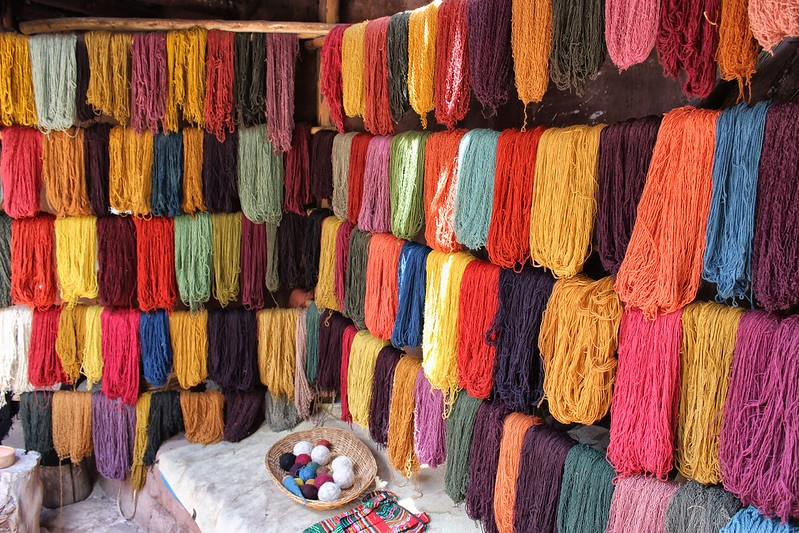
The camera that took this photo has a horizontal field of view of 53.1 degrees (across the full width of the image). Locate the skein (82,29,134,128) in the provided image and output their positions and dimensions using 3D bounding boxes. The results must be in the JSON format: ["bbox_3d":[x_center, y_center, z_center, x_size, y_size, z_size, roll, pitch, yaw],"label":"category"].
[{"bbox_3d":[-1.421,-0.920,3.852,0.216,0.128,0.385,1,-83,-2],"label":"skein"}]

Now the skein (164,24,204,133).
[{"bbox_3d":[-1.053,-0.906,3.954,0.244,0.152,0.447,3,-80,6],"label":"skein"}]

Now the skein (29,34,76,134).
[{"bbox_3d":[-1.675,-0.868,3.874,0.222,0.126,0.439,1,-90,-4],"label":"skein"}]

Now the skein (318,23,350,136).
[{"bbox_3d":[-0.321,-0.931,3.903,0.273,0.099,0.413,-9,-76,-46],"label":"skein"}]

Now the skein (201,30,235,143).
[{"bbox_3d":[-0.902,-0.920,3.978,0.149,0.110,0.584,1,-106,-10],"label":"skein"}]

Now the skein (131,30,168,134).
[{"bbox_3d":[-1.240,-0.923,3.964,0.182,0.125,0.557,-6,-44,-23],"label":"skein"}]
